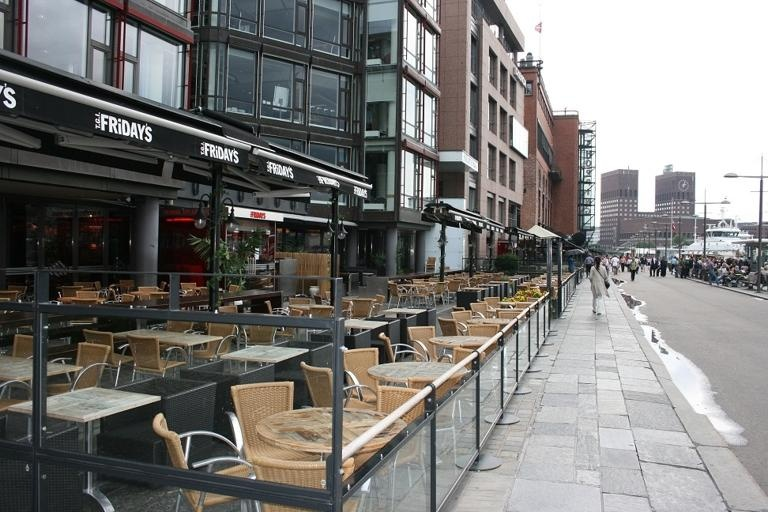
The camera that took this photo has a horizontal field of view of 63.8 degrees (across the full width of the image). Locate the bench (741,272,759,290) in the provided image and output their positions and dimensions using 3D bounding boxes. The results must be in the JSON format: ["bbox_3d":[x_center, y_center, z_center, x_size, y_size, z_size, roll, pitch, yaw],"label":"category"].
[{"bbox_3d":[23.522,1.689,39.500,1.309,1.217,1.136,-5,7,-40],"label":"bench"}]
